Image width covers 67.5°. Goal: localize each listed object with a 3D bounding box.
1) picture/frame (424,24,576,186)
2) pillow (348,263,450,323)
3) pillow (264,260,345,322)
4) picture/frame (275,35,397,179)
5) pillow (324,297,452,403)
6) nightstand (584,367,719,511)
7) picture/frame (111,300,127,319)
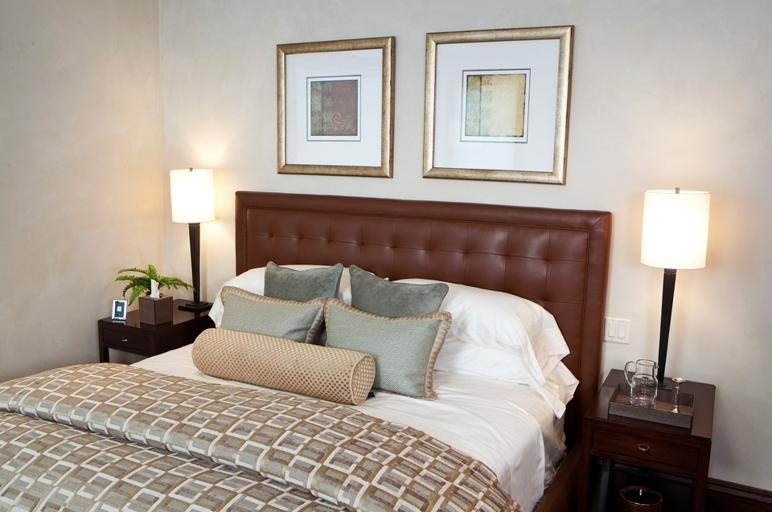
[{"bbox_3d":[0.696,-0.908,3.363,0.918,0.952,0.068,3,7,22],"label":"picture/frame"},{"bbox_3d":[0.072,0.118,3.157,0.594,0.427,0.206,1,-14,28],"label":"pillow"},{"bbox_3d":[-0.461,0.160,3.371,0.557,0.410,0.201,1,-25,21],"label":"pillow"},{"bbox_3d":[-0.285,-0.982,3.699,0.918,0.957,0.078,2,7,20],"label":"picture/frame"},{"bbox_3d":[0.006,0.481,2.899,0.448,0.309,0.146,6,-11,22],"label":"pillow"},{"bbox_3d":[1.390,0.927,3.111,0.541,0.612,0.726,3,8,25],"label":"nightstand"},{"bbox_3d":[-1.781,0.363,3.892,0.119,0.162,0.021,-1,-4,16],"label":"picture/frame"}]
